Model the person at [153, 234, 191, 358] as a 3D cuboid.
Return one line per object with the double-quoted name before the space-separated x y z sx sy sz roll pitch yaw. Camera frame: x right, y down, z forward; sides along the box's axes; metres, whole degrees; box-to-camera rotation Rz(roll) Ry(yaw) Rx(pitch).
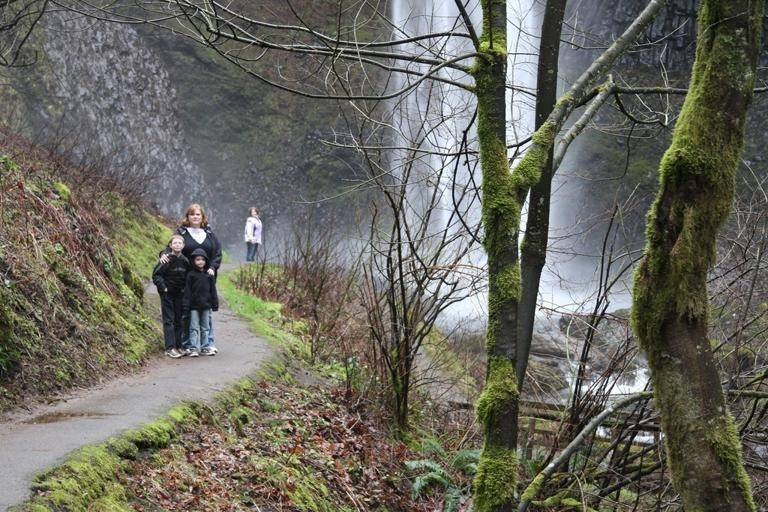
"person" -3.892 0.723 13.998 0.645 2.288 0.366 5 0 -17
